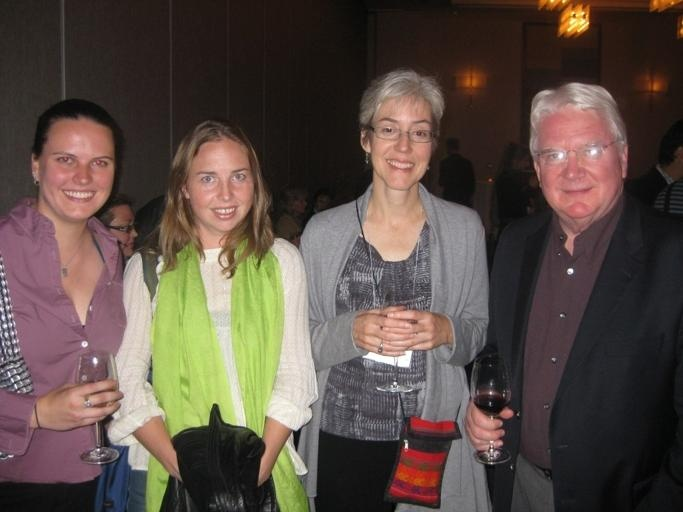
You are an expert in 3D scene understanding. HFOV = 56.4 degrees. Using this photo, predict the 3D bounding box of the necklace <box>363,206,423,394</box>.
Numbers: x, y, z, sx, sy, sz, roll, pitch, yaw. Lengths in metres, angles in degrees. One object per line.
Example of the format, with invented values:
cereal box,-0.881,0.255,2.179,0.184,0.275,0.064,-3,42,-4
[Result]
necklace,0.205,0.168,2.703,0.280,0.794,0.156,-4,35,-7

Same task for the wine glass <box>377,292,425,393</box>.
wine glass,0.272,0.398,2.915,0.201,0.448,0.165,2,8,4

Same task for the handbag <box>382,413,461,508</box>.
handbag,0.352,0.915,2.841,0.329,0.445,0.076,15,6,-9

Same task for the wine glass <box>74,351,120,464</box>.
wine glass,-1.043,0.646,2.719,0.156,0.519,0.318,-2,9,-24

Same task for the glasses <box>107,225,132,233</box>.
glasses,-1.507,-0.181,4.305,0.131,0.040,0.128,2,6,6

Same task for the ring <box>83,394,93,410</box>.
ring,-1.019,0.586,2.552,0.034,0.045,0.017,-2,10,17

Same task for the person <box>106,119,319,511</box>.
person,-0.527,0.168,2.725,0.859,1.479,0.524,1,8,-3

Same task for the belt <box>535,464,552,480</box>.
belt,0.882,0.934,2.756,0.057,0.021,0.042,33,-7,17

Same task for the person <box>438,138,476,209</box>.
person,2.050,-1.387,11.936,0.511,0.517,1.722,-9,-39,23

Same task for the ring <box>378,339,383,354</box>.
ring,0.176,0.399,2.810,0.026,0.071,0.048,2,8,4
